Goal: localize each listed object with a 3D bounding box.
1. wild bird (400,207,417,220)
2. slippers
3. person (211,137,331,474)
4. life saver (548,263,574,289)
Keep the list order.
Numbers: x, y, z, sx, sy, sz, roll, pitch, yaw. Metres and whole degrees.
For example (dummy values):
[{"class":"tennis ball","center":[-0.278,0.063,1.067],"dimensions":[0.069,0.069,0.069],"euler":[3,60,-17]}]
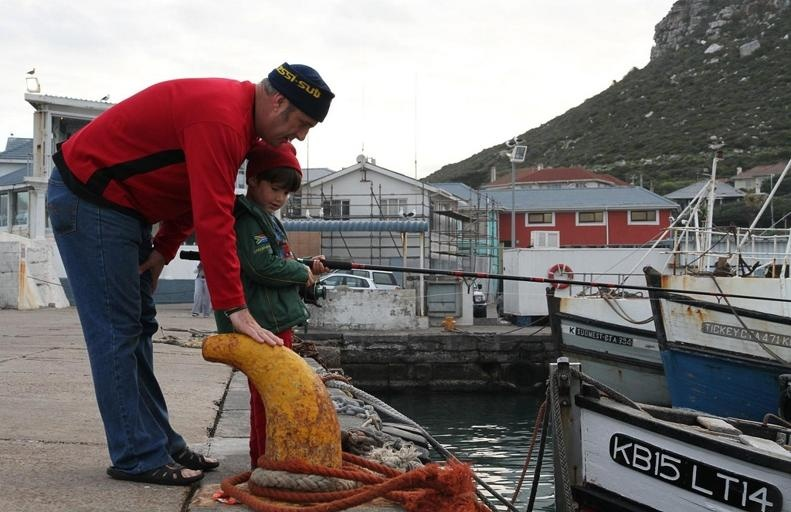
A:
[{"class":"wild bird","center":[0.341,-1.390,26.536],"dimensions":[0.621,0.445,0.385],"euler":[2,6,23]},{"class":"slippers","center":[-1.520,1.400,5.289],"dimensions":[0.650,0.260,0.387],"euler":[0,0,0]},{"class":"person","center":[-0.944,0.319,5.774],"dimensions":[0.970,2.132,0.779],"euler":[0,-1,9]},{"class":"life saver","center":[3.776,0.446,18.884],"dimensions":[0.632,0.661,0.190],"euler":[-6,-2,1]}]
